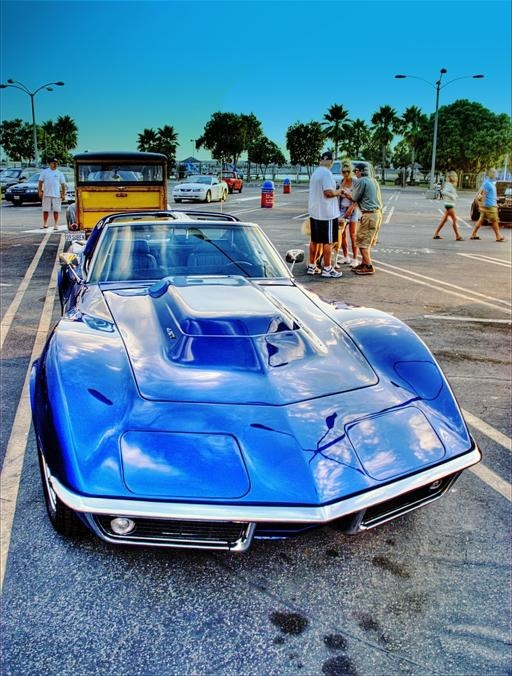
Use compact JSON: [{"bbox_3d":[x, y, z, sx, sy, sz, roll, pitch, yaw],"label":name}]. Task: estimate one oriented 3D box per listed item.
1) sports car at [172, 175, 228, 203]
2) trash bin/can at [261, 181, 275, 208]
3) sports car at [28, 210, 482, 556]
[{"bbox_3d":[-3.207,-8.990,29.022,2.324,1.923,3.618,5,10,18],"label":"sports car"},{"bbox_3d":[0.608,-7.646,25.847,0.549,1.329,0.648,1,10,-6],"label":"trash bin/can"},{"bbox_3d":[-0.318,-0.129,3.129,1.833,0.876,3.513,-3,23,-16],"label":"sports car"}]
